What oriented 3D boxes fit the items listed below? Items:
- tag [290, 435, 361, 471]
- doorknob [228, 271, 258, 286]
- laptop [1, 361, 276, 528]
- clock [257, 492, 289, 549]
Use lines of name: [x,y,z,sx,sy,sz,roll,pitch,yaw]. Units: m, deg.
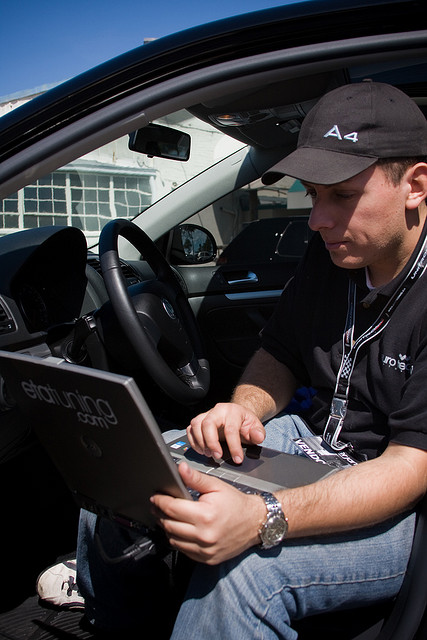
tag: [0.261,0.307,1.171,0.150,0.015,0.155,-11,20,-35]
doorknob: [0.177,-0.231,2.791,0.208,0.077,0.061,1,27,0]
laptop: [-0.214,0.240,0.917,0.136,0.280,0.423,-19,9,-37]
clock: [0.102,0.372,0.941,0.063,0.093,0.084,1,2,-15]
